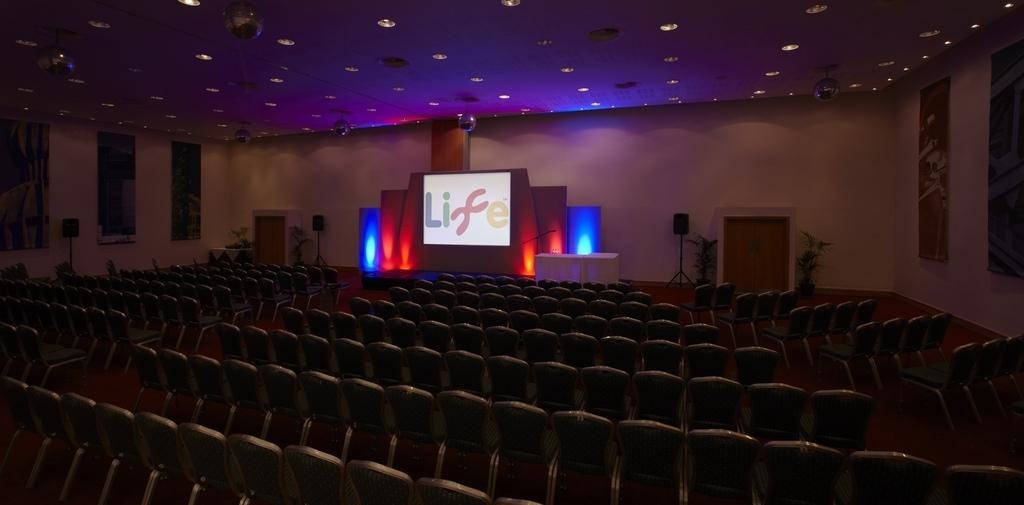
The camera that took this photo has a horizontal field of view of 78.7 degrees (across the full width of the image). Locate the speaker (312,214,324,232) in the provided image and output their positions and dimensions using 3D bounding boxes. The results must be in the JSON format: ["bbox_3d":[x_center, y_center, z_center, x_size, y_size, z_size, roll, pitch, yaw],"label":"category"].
[{"bbox_3d":[-8.336,-1.227,26.564,0.429,0.684,0.537,-1,2,-6],"label":"speaker"}]

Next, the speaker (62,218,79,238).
[{"bbox_3d":[-16.717,-0.928,23.578,0.726,0.749,0.734,-4,-4,41],"label":"speaker"}]

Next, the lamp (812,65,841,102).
[{"bbox_3d":[9.069,-4.917,18.082,0.713,0.895,0.685,-3,22,16],"label":"lamp"}]

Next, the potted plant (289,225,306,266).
[{"bbox_3d":[-9.331,-0.358,26.992,0.687,1.608,0.423,-2,3,-29],"label":"potted plant"}]

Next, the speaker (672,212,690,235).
[{"bbox_3d":[5.966,-0.997,22.304,0.522,0.798,0.546,0,3,10],"label":"speaker"}]
